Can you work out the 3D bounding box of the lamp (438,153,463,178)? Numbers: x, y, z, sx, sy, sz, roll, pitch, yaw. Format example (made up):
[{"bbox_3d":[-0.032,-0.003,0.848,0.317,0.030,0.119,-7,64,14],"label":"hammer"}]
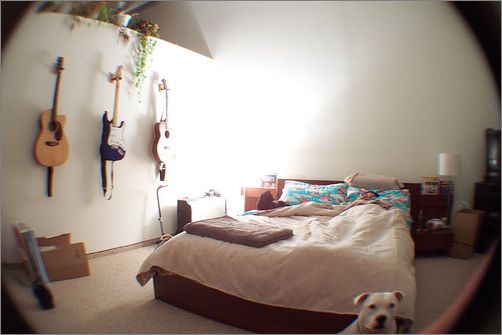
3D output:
[{"bbox_3d":[1.947,-0.023,3.084,0.219,0.225,0.208,6,-12,-30],"label":"lamp"}]

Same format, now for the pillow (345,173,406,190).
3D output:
[{"bbox_3d":[1.400,0.148,3.570,0.417,0.130,0.192,6,42,33],"label":"pillow"}]

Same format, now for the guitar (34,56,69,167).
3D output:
[{"bbox_3d":[-1.754,-0.492,2.767,0.128,0.984,0.371,1,10,13],"label":"guitar"}]

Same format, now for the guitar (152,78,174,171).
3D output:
[{"bbox_3d":[-1.067,-0.528,3.878,0.174,1.103,0.433,2,10,18],"label":"guitar"}]

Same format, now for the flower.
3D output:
[{"bbox_3d":[-1.218,-1.255,3.735,0.146,0.959,0.410,2,10,21],"label":"flower"}]

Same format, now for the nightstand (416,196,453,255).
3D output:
[{"bbox_3d":[1.899,0.562,3.279,0.356,0.536,0.346,3,11,27],"label":"nightstand"}]
